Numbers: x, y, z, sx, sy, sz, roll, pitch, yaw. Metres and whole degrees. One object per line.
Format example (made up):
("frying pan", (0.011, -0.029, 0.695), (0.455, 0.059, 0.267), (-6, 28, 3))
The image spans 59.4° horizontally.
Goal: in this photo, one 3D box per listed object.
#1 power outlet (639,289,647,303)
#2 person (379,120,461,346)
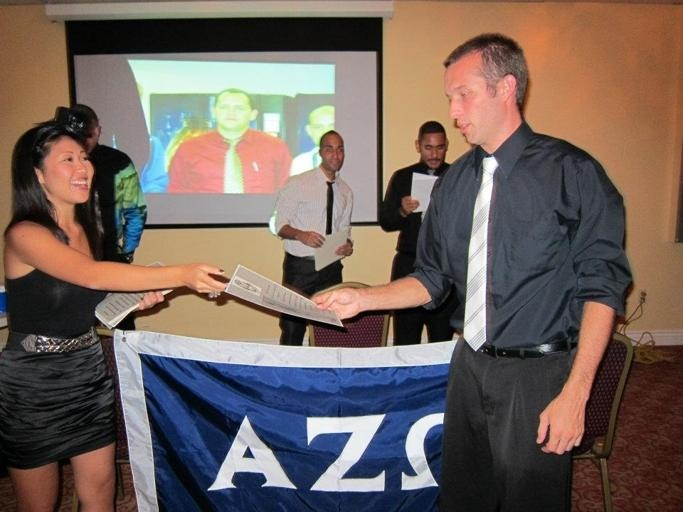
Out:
("power outlet", (2.896, 0.387, 5.719), (0.055, 0.132, 0.098), (12, 17, 41))
("person", (0.741, 0.021, 4.972), (0.740, 2.159, 0.697), (-1, 12, -1))
